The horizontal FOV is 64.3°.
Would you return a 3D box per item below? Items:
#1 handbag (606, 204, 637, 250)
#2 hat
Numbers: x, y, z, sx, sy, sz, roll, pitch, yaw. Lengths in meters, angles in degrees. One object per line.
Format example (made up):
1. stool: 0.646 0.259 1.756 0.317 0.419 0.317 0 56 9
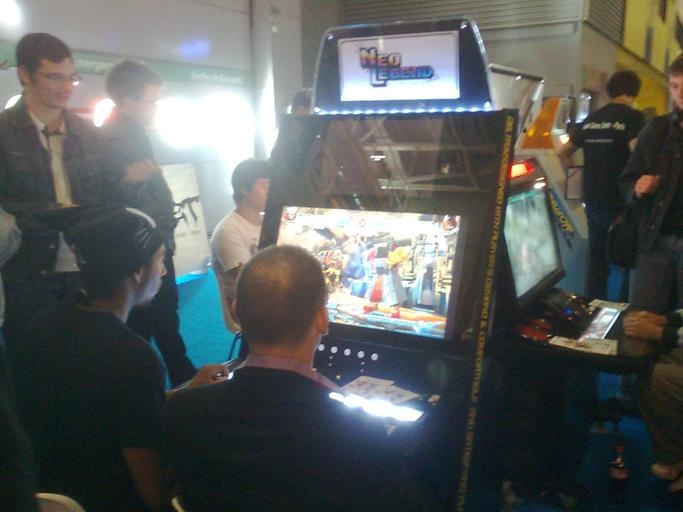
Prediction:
1. handbag: 1.545 -0.158 2.985 0.055 0.191 0.150 13 5 -41
2. hat: -0.747 -0.068 1.874 0.298 0.251 0.221 -27 3 -1
